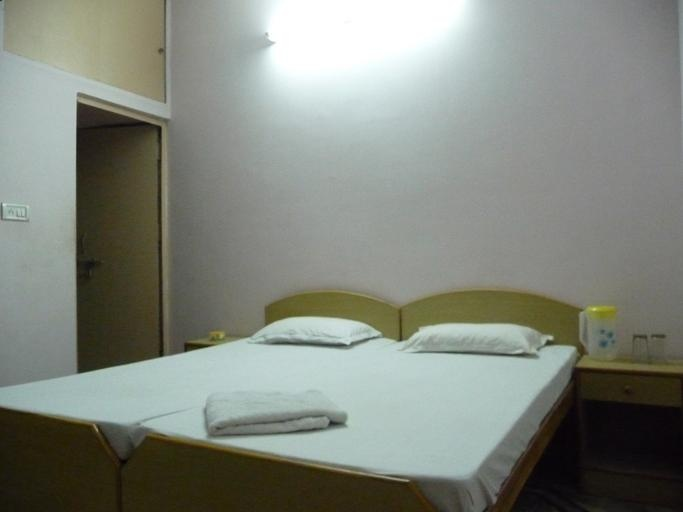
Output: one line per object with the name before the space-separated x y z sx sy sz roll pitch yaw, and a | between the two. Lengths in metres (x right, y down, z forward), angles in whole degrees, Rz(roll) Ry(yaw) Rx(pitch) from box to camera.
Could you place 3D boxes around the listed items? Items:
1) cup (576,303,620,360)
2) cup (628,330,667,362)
cup | 1.529 0.476 3.229 0.209 0.311 0.177 -7 -22 41
cup | 1.820 0.503 3.191 0.240 0.250 0.133 0 -8 11
